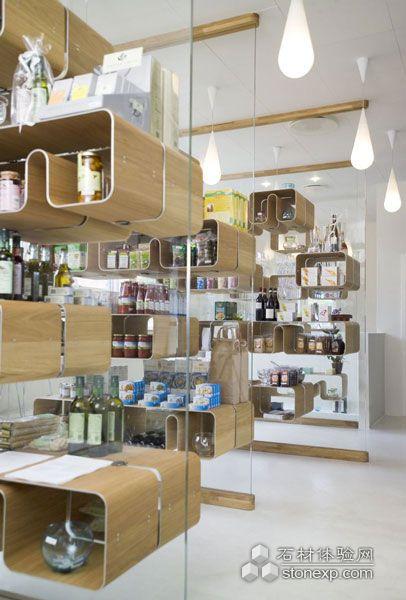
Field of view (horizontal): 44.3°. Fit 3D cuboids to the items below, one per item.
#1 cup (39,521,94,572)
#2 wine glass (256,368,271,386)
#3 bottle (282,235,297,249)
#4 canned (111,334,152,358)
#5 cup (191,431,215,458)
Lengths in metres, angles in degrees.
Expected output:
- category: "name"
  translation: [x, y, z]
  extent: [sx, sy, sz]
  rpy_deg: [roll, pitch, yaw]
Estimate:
- category: "cup"
  translation: [-0.394, 0.713, 1.488]
  extent: [0.127, 0.180, 0.127]
  rpy_deg: [1, -8, 0]
- category: "wine glass"
  translation: [0.595, 0.749, 4.881]
  extent: [0.128, 0.139, 0.129]
  rpy_deg: [0, -9, 3]
- category: "bottle"
  translation: [0.969, -0.642, 5.551]
  extent: [0.157, 0.164, 0.135]
  rpy_deg: [-1, 5, -19]
- category: "canned"
  translation: [-0.258, 0.166, 1.850]
  extent: [0.152, 0.084, 0.097]
  rpy_deg: [2, -3, -7]
- category: "cup"
  translation: [0.012, 0.755, 2.692]
  extent: [0.131, 0.145, 0.140]
  rpy_deg: [-1, 0, 0]
